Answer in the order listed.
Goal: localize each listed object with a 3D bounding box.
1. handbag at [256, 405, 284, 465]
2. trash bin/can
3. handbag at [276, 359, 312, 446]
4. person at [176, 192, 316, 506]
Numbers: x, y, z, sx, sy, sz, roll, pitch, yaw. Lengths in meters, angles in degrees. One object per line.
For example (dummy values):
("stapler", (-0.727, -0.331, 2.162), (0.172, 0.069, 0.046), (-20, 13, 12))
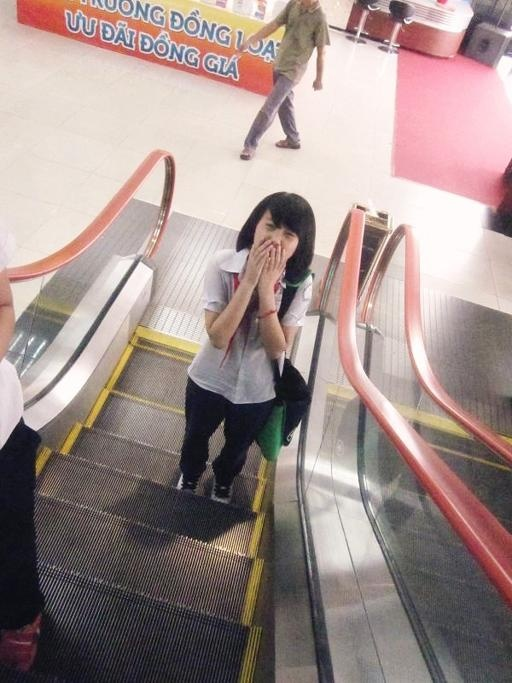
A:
("handbag", (0.060, 0.378, 1.827), (0.075, 0.287, 0.102), (5, 7, 4))
("trash bin/can", (0.867, -0.717, 3.666), (0.171, 0.669, 0.357), (-2, 34, -19))
("handbag", (0.137, 0.211, 1.734), (0.074, 0.272, 0.210), (5, 43, -7))
("person", (-0.079, 0.215, 1.801), (0.403, 1.654, 0.377), (6, 31, -8))
